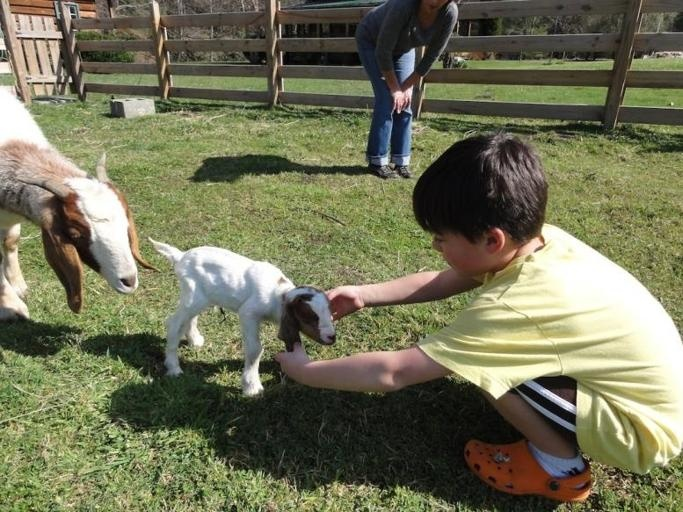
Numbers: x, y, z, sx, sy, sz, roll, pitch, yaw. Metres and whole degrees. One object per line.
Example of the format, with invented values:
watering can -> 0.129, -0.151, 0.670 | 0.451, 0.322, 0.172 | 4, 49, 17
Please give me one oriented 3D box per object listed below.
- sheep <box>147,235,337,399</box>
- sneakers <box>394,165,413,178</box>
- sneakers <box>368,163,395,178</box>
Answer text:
sheep -> -0.583, 0.351, 3.230 | 1.419, 0.758, 0.508 | 17, 28, 29
sneakers -> 0.717, -0.996, 6.191 | 0.098, 0.109, 0.259 | -33, 41, -15
sneakers -> 0.451, -0.995, 6.126 | 0.312, 0.109, 0.151 | 22, 40, 37
